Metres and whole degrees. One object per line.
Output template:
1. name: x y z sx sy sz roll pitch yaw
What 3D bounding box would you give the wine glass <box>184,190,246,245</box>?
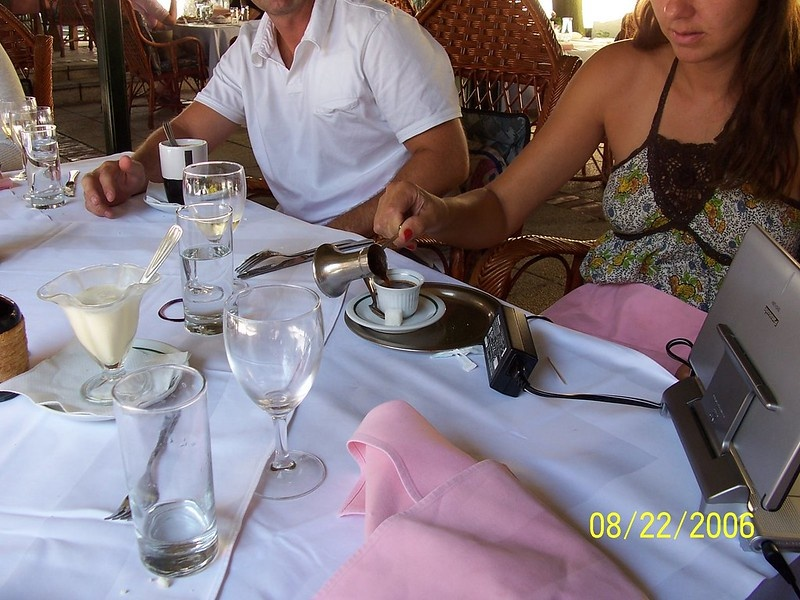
1. wine glass: -0.441 -0.216 1.289 0.116 0.144 0.137 -2 15 -9

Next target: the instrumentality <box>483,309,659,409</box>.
1. instrumentality: 0.263 0.099 0.867 0.201 0.171 0.069 6 10 2

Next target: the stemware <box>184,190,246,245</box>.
1. stemware: -0.441 -0.209 1.288 0.116 0.144 0.137 -2 15 -9

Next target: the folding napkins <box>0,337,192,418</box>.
1. folding napkins: -0.496 0.123 0.820 0.136 0.019 0.158 16 33 15

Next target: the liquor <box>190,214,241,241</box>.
1. liquor: -0.368 -0.143 1.042 0.054 0.050 0.062 1 38 5

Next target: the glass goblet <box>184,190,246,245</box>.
1. glass goblet: -0.441 -0.215 1.274 0.116 0.144 0.137 -2 15 -9

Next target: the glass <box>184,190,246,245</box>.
1. glass: -0.444 -0.216 1.290 0.116 0.144 0.137 -2 15 -9

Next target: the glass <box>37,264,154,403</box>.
1. glass: -0.463 0.055 0.803 0.128 0.153 0.137 14 27 27

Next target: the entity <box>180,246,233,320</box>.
1. entity: -0.370 -0.034 1.003 0.080 0.145 0.086 6 30 5
